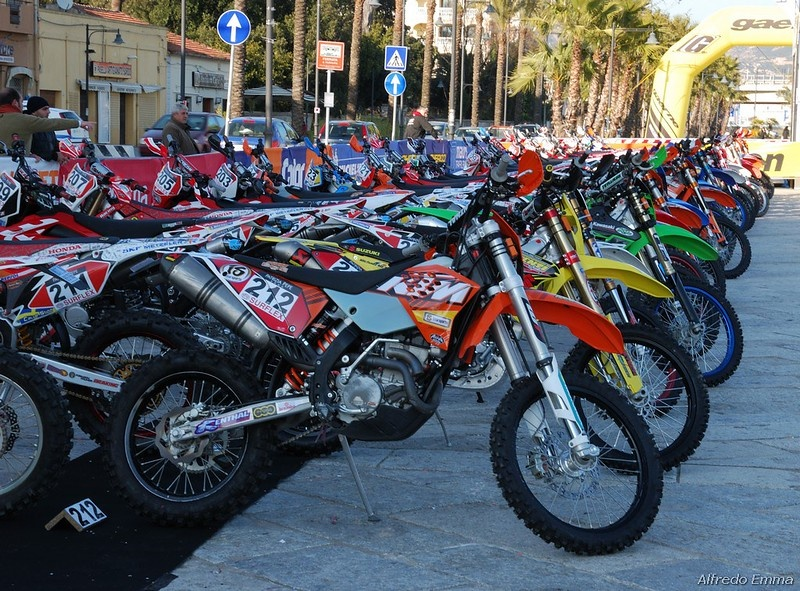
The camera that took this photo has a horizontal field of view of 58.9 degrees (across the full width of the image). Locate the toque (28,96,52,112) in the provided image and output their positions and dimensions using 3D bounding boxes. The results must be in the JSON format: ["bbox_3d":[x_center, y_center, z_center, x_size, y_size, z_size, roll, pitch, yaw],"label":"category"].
[{"bbox_3d":[-4.435,-2.388,8.675,0.274,0.245,0.207,-7,1,-21],"label":"toque"}]

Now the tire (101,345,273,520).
[{"bbox_3d":[-1.067,0.714,3.579,0.750,0.748,0.183,14,-6,7],"label":"tire"}]

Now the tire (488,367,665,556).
[{"bbox_3d":[0.864,0.779,3.409,0.936,0.873,0.264,6,-29,-17],"label":"tire"}]

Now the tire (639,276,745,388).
[{"bbox_3d":[2.443,0.301,5.810,0.228,0.910,0.910,-12,19,-31],"label":"tire"}]

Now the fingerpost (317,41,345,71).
[{"bbox_3d":[-1.975,-6.964,20.325,0.727,0.911,1.388,-1,10,-8],"label":"fingerpost"}]

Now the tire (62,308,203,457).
[{"bbox_3d":[-1.809,0.479,4.573,0.171,0.853,0.853,39,17,-18],"label":"tire"}]

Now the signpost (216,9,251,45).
[{"bbox_3d":[-3.478,-5.651,14.714,0.583,0.905,1.683,-2,10,-14],"label":"signpost"}]

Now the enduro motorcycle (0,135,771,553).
[{"bbox_3d":[-0.032,0.338,4.390,3.957,2.183,1.596,-1,2,4],"label":"enduro motorcycle"}]
